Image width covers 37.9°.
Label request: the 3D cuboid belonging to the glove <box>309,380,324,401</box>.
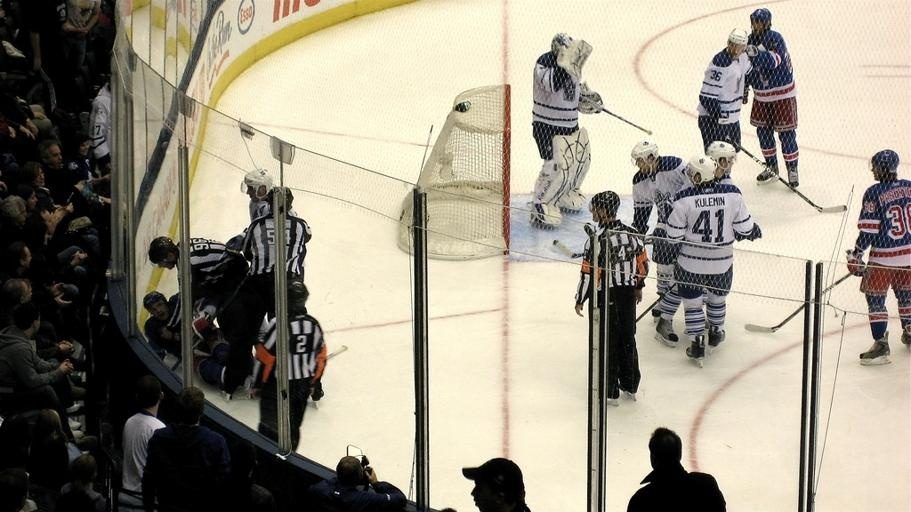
[{"bbox_3d":[-1.051,1.010,10.024,0.092,0.140,0.128,-8,22,-29],"label":"glove"}]

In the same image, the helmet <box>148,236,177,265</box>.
[{"bbox_3d":[-2.337,-0.046,10.555,0.337,0.242,0.098,-6,-11,43],"label":"helmet"}]

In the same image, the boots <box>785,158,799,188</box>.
[{"bbox_3d":[3.520,-0.871,13.888,0.123,0.309,0.149,-3,-8,7],"label":"boots"}]

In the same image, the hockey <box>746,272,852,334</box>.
[{"bbox_3d":[2.506,0.315,9.638,0.079,0.553,0.124,39,18,-26],"label":"hockey"}]

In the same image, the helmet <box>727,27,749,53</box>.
[{"bbox_3d":[2.878,-2.211,13.515,0.199,0.207,0.228,6,38,13],"label":"helmet"}]

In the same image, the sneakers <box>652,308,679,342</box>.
[{"bbox_3d":[1.618,0.533,10.309,0.111,0.279,0.309,-12,31,-19],"label":"sneakers"}]

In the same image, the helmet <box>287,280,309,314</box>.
[{"bbox_3d":[-1.192,0.309,9.965,0.227,0.225,0.230,-1,35,-11],"label":"helmet"}]

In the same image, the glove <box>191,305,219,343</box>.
[{"bbox_3d":[-1.961,0.521,10.322,0.219,0.265,0.111,13,-6,25],"label":"glove"}]

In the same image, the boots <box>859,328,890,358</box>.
[{"bbox_3d":[3.248,0.699,10.275,0.214,0.205,0.189,-1,-8,17],"label":"boots"}]

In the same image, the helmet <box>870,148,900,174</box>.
[{"bbox_3d":[3.818,-0.842,11.706,0.250,0.248,0.311,0,-8,-5],"label":"helmet"}]

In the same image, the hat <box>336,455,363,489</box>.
[{"bbox_3d":[-0.744,1.543,9.605,0.193,0.212,0.215,1,37,-2],"label":"hat"}]

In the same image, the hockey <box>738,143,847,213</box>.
[{"bbox_3d":[3.510,-0.797,13.876,1.598,0.115,0.275,30,-19,39],"label":"hockey"}]

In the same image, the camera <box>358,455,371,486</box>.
[{"bbox_3d":[-0.668,1.573,9.779,0.181,0.149,0.166,2,25,-5],"label":"camera"}]

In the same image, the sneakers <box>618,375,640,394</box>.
[{"bbox_3d":[1.288,0.941,9.805,0.128,0.105,0.148,-2,3,-44],"label":"sneakers"}]

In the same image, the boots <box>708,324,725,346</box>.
[{"bbox_3d":[2.014,0.612,10.291,0.077,0.145,0.214,12,43,27],"label":"boots"}]

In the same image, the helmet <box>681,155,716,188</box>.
[{"bbox_3d":[2.141,-0.772,11.650,0.222,0.224,0.283,-21,39,-34],"label":"helmet"}]

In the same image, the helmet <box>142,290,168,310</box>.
[{"bbox_3d":[-2.419,0.346,10.747,0.162,0.156,0.178,-6,19,11],"label":"helmet"}]

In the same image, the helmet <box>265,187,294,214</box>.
[{"bbox_3d":[-1.289,-0.428,9.882,0.179,0.203,0.210,2,41,0],"label":"helmet"}]

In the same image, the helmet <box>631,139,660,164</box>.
[{"bbox_3d":[1.744,-0.987,12.289,0.228,0.208,0.252,1,-8,6],"label":"helmet"}]

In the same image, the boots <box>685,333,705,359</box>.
[{"bbox_3d":[1.834,0.680,10.109,0.103,0.176,0.208,-4,28,-3],"label":"boots"}]
